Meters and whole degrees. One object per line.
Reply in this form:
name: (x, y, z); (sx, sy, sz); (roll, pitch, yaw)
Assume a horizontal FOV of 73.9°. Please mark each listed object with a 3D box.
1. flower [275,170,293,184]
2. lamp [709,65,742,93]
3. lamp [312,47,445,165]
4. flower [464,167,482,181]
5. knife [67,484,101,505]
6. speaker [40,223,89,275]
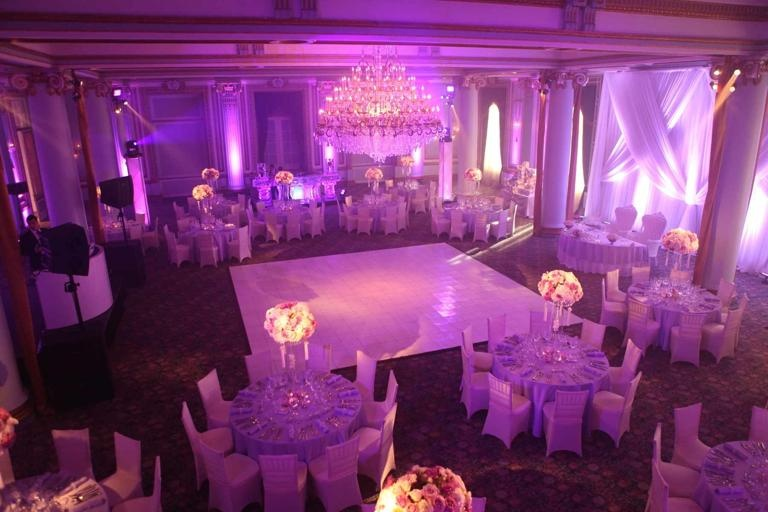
flower: (-3.048, -2.415, 15.842); (0.510, 0.275, 0.522); (-9, 24, -24)
lamp: (6.729, -3.473, 10.061); (0.521, 0.464, 0.310); (9, 18, 37)
lamp: (-0.189, -3.053, 10.331); (2.213, 2.075, 3.100); (-4, 15, -6)
flower: (2.750, -2.527, 15.955); (0.556, 0.218, 0.583); (-2, 28, -5)
knife: (-3.486, 2.775, 5.942); (0.210, 0.044, 0.131); (-13, 45, -24)
speaker: (-4.992, -0.095, 7.974); (0.442, 0.675, 0.511); (6, 37, -12)
